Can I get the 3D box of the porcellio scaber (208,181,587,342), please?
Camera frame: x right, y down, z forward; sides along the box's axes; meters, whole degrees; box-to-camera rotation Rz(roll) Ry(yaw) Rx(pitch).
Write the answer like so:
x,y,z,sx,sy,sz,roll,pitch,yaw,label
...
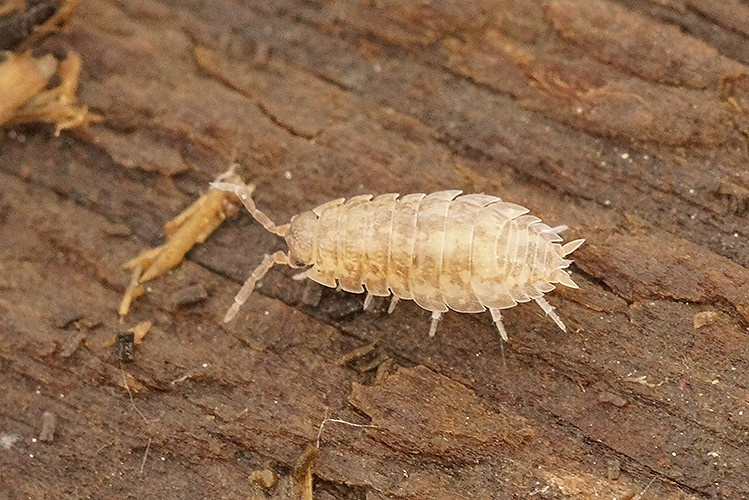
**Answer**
x,y,z,sx,sy,sz,roll,pitch,yaw,label
0.452,0.146,10.619,3.409,1.699,0.729,15,31,-1,porcellio scaber
